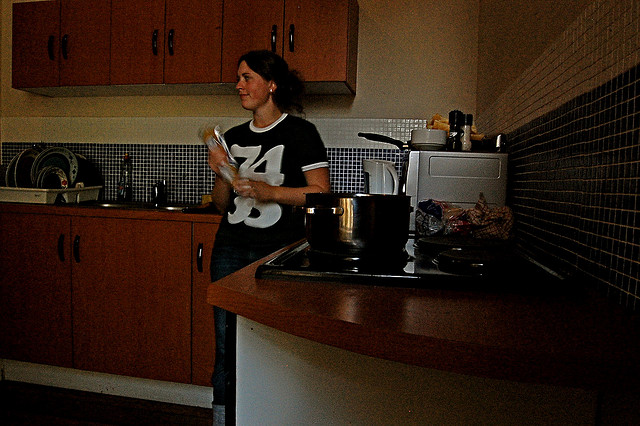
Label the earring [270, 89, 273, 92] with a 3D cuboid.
[{"bbox_3d":[-0.247,-0.627,2.617,0.009,0.016,0.009,2,15,4],"label":"earring"}]

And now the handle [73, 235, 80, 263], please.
[{"bbox_3d":[-1.419,0.208,2.986,0.037,0.161,0.013,1,3,7],"label":"handle"}]

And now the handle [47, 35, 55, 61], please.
[{"bbox_3d":[-1.747,-1.078,3.330,0.043,0.166,0.022,1,3,16],"label":"handle"}]

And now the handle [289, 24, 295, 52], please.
[{"bbox_3d":[-0.164,-1.037,3.027,0.030,0.160,0.018,0,3,-1],"label":"handle"}]

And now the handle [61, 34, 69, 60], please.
[{"bbox_3d":[-1.644,-1.077,3.309,0.035,0.160,0.018,1,3,8],"label":"handle"}]

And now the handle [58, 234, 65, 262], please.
[{"bbox_3d":[-1.512,0.204,2.996,0.035,0.159,0.011,0,3,-1],"label":"handle"}]

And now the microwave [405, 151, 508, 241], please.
[{"bbox_3d":[0.628,-0.056,2.444,0.552,0.446,0.299,0,-7,-10],"label":"microwave"}]

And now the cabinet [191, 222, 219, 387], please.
[{"bbox_3d":[-0.650,0.520,2.844,0.153,0.932,0.138,1,3,2],"label":"cabinet"}]

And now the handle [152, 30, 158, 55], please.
[{"bbox_3d":[-1.025,-1.068,3.192,0.031,0.150,0.012,0,3,-7],"label":"handle"}]

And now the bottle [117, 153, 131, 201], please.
[{"bbox_3d":[-1.376,-0.248,3.599,0.084,0.311,0.161,-1,4,-22],"label":"bottle"}]

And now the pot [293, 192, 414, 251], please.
[{"bbox_3d":[0.123,0.029,1.655,0.338,0.187,0.092,0,4,-1],"label":"pot"}]

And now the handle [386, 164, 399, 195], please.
[{"bbox_3d":[0.358,-0.166,2.470,0.052,0.133,0.157,1,4,14],"label":"handle"}]

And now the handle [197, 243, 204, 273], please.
[{"bbox_3d":[-0.669,0.252,2.878,0.035,0.166,0.018,0,3,-4],"label":"handle"}]
